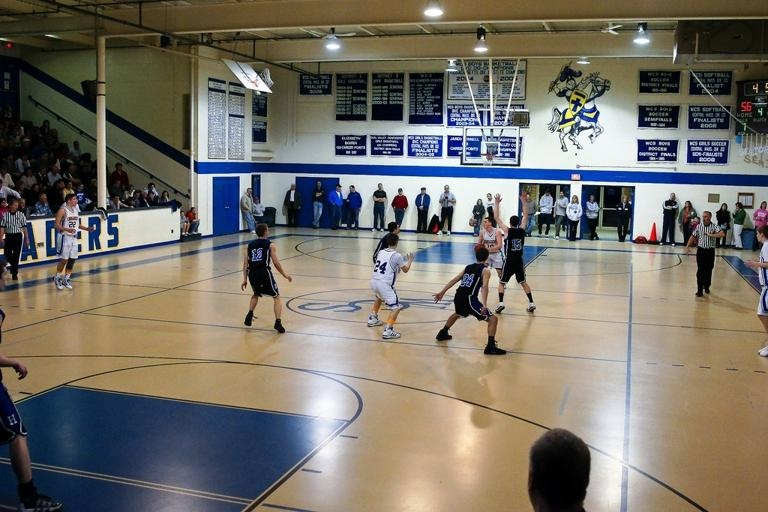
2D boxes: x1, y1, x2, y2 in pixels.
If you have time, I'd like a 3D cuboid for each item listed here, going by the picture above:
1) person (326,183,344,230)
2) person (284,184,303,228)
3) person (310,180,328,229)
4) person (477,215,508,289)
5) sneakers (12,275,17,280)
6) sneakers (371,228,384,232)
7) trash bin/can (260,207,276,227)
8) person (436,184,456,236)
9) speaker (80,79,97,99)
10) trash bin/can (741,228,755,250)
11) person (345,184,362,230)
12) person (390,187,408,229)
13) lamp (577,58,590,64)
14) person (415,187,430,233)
[{"bbox_3d":[-2.284,-2.365,28.067,0.714,2.087,0.735,0,11,-5],"label":"person"},{"bbox_3d":[-4.436,-2.442,28.383,1.005,2.029,0.552,8,12,32],"label":"person"},{"bbox_3d":[-3.129,-2.493,28.252,0.518,2.238,0.886,6,11,24],"label":"person"},{"bbox_3d":[2.424,-0.054,13.375,0.603,1.639,0.514,-4,5,-7],"label":"person"},{"bbox_3d":[-9.362,0.542,14.958,0.130,0.147,0.132,4,-6,-23],"label":"sneakers"},{"bbox_3d":[-0.298,-1.220,27.801,0.579,0.261,0.198,0,4,-18],"label":"sneakers"},{"bbox_3d":[-5.599,-1.924,28.806,0.836,1.027,0.898,0,-1,-7],"label":"trash bin/can"},{"bbox_3d":[2.885,-2.158,27.120,0.716,2.229,0.574,4,11,13],"label":"person"},{"bbox_3d":[-9.512,-5.407,19.064,0.325,0.620,1.018,-6,13,-34],"label":"speaker"},{"bbox_3d":[14.776,-0.657,23.694,0.676,0.894,0.704,2,6,28],"label":"trash bin/can"},{"bbox_3d":[-1.430,-2.341,28.098,0.719,2.036,0.442,0,10,-4],"label":"person"},{"bbox_3d":[0.731,-2.231,27.438,0.777,1.863,0.748,1,10,1],"label":"person"},{"bbox_3d":[8.150,-7.997,24.060,0.355,0.138,0.371,-1,2,12],"label":"lamp"},{"bbox_3d":[1.800,-2.144,27.288,0.656,2.088,0.547,1,10,-2],"label":"person"}]
